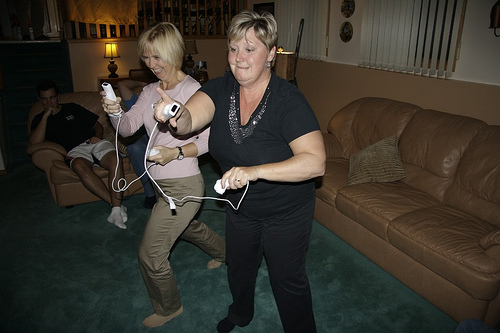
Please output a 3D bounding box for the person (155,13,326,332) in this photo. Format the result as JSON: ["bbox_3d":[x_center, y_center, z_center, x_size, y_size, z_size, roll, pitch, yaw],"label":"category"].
[{"bbox_3d":[0.001,0.246,2.233,0.863,2.456,0.911,-12,25,-26],"label":"person"}]

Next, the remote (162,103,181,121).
[{"bbox_3d":[-0.483,-0.338,1.892,0.052,0.055,0.087,29,-25,-26],"label":"remote"}]

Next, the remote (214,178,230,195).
[{"bbox_3d":[-0.174,0.115,1.905,0.081,0.104,0.032,49,21,23],"label":"remote"}]

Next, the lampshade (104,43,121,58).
[{"bbox_3d":[-3.061,-2.586,6.964,0.318,0.333,0.320,-4,28,-10],"label":"lampshade"}]

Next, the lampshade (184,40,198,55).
[{"bbox_3d":[-1.363,-2.739,7.153,0.259,0.324,0.447,-5,23,-10],"label":"lampshade"}]

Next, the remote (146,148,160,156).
[{"bbox_3d":[-0.720,-0.107,2.291,0.057,0.059,0.019,23,16,6],"label":"remote"}]

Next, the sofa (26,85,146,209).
[{"bbox_3d":[-2.270,-0.263,4.629,1.694,1.316,0.928,-8,25,-30],"label":"sofa"}]
